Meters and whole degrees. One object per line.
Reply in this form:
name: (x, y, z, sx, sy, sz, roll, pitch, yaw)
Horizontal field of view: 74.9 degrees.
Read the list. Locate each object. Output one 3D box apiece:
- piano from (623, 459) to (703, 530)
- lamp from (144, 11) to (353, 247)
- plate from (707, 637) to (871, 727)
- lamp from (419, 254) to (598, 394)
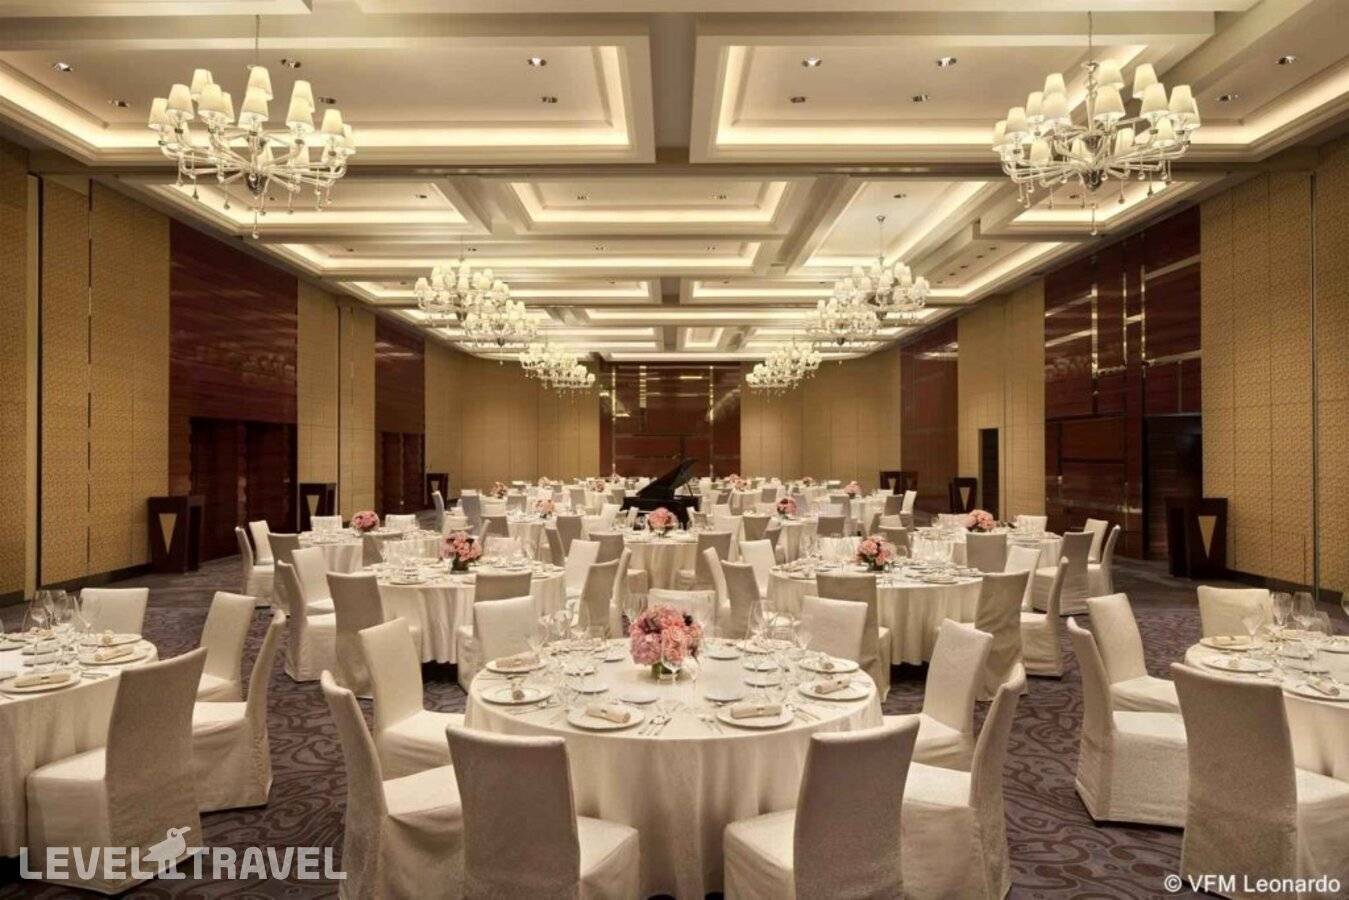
piano: (-0.113, 0.781, 14.279, 1.129, 1.149, 1.102, 9, 8, -9)
lamp: (-3.937, -3.185, 8.377, 1.578, 1.778, 1.621, -2, -1, 10)
plate: (0.743, 1.517, 5.787, 1.210, 0.392, 0.726, 1, -4, -29)
lamp: (-3.139, -2.211, 15.251, 1.409, 1.652, 5.351, 1, 5, -7)
